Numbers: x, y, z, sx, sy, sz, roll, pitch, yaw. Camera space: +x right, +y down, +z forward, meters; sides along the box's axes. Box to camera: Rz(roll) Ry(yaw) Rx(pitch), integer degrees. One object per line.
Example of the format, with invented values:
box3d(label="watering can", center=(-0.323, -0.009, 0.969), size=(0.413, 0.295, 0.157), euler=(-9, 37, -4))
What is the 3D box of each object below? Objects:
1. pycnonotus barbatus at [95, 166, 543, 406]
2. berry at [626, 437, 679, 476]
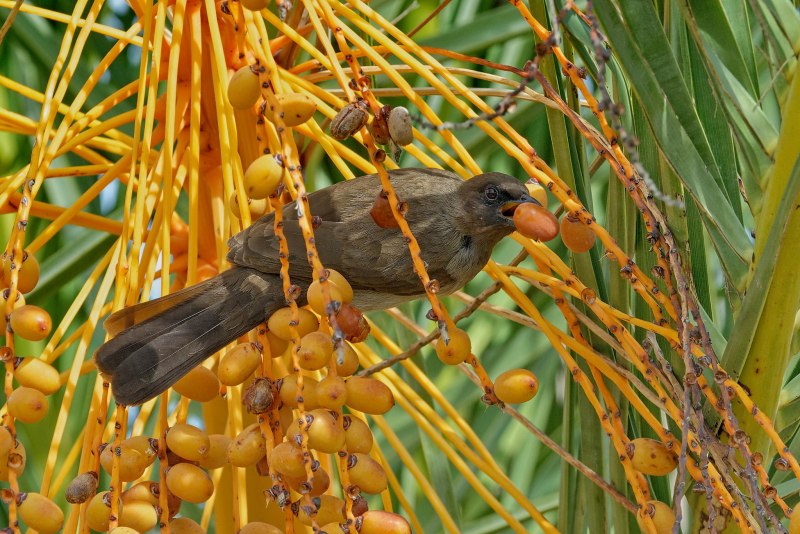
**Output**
box3d(label="pycnonotus barbatus", center=(-0.165, -0.006, 2.191), size=(0.983, 0.445, 0.325), euler=(-2, 31, -7))
box3d(label="berry", center=(0.435, 0.324, 1.573), size=(0.084, 0.061, 0.057), euler=(-2, -42, 8))
